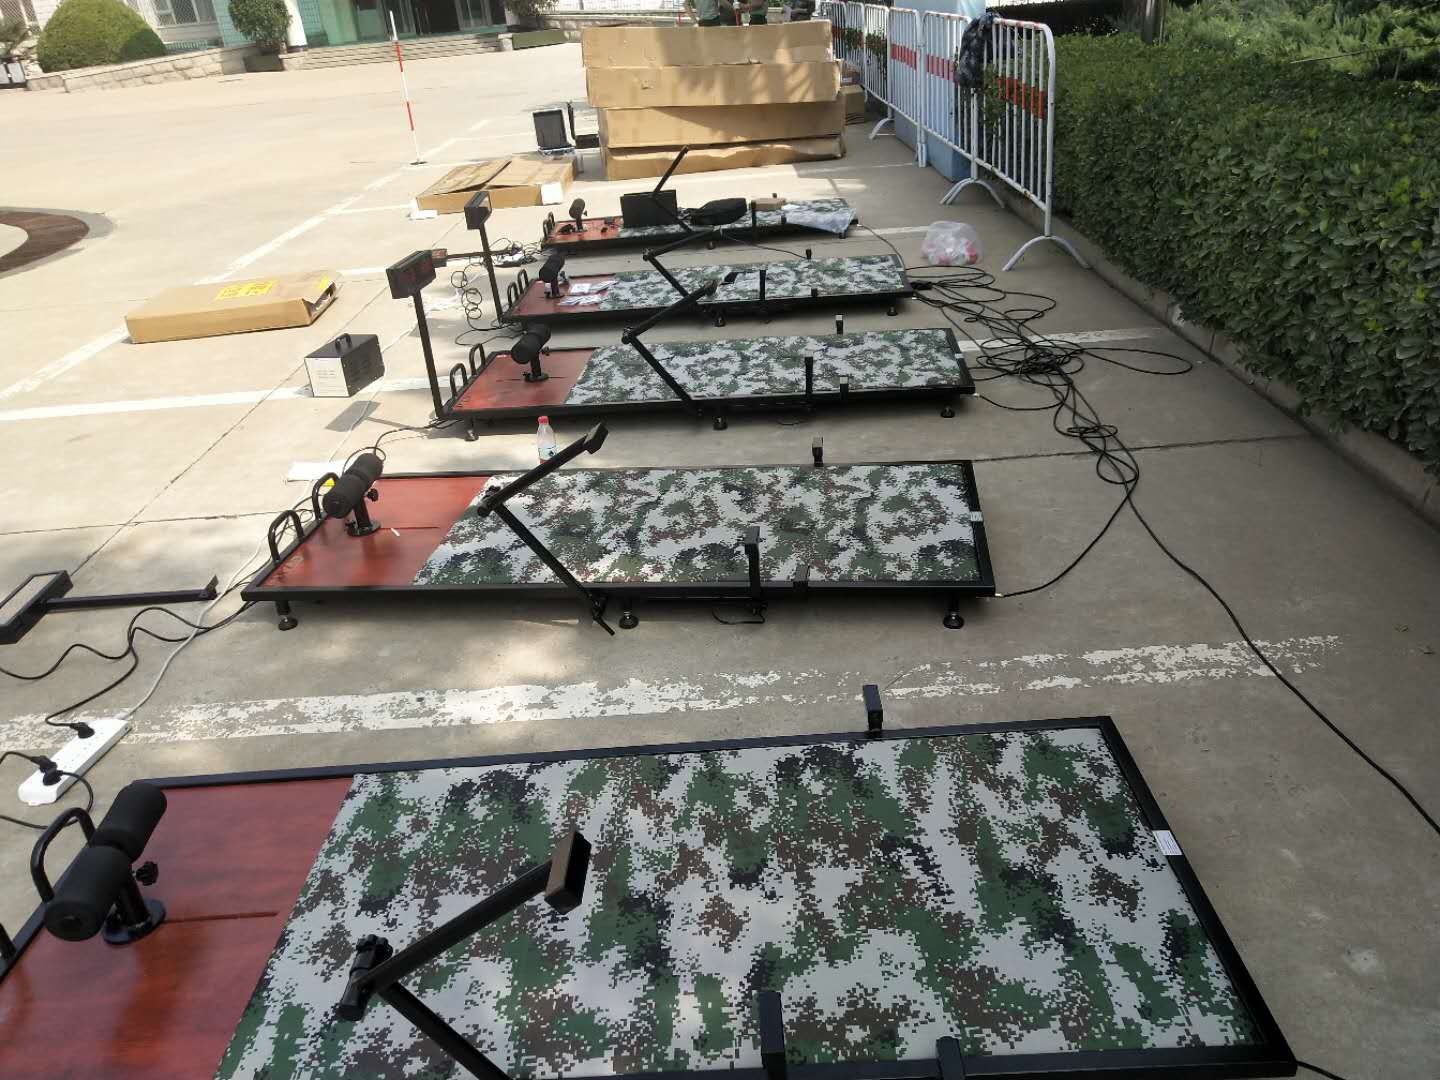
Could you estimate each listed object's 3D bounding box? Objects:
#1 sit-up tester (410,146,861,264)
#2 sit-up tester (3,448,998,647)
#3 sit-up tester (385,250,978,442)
[{"bbox_3d":[-0.295,-3.229,9.576,3.826,0.808,1.973,-5,39,6],"label":"sit-up tester"},{"bbox_3d":[-0.453,-0.171,4.688,3.409,0.828,1.215,-2,36,8],"label":"sit-up tester"},{"bbox_3d":[-0.185,-1.113,6.378,2.994,0.656,1.530,-6,41,1],"label":"sit-up tester"}]
